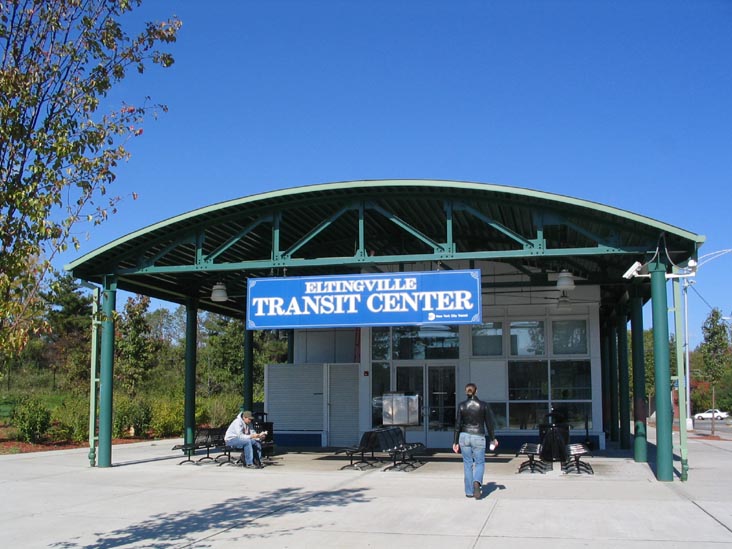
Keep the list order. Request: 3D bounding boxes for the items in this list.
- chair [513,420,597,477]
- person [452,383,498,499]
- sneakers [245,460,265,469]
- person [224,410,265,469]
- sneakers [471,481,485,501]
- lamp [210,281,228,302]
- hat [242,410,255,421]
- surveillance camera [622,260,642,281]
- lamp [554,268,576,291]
[{"bbox_3d":[4.176,3.977,16.289,1.185,0.706,1.279,-2,-7,21],"label":"chair"},{"bbox_3d":[1.943,2.947,12.958,0.727,1.998,0.528,-3,-12,10],"label":"person"},{"bbox_3d":[-2.659,4.549,17.503,0.472,0.228,0.169,-2,-7,15],"label":"sneakers"},{"bbox_3d":[-2.941,3.969,17.730,0.925,1.388,0.973,5,-14,-28],"label":"person"},{"bbox_3d":[1.967,3.790,12.848,0.135,0.367,0.141,-1,2,29],"label":"sneakers"},{"bbox_3d":[-3.923,0.428,19.429,0.406,0.469,0.403,12,-23,-38],"label":"lamp"},{"bbox_3d":[-2.898,3.424,17.784,0.193,0.147,0.262,26,-20,-27],"label":"hat"},{"bbox_3d":[6.049,-0.117,16.504,0.151,0.139,0.485,25,-62,-26],"label":"surveillance camera"},{"bbox_3d":[4.658,0.158,16.888,0.494,0.605,0.501,5,-10,-31],"label":"lamp"}]
